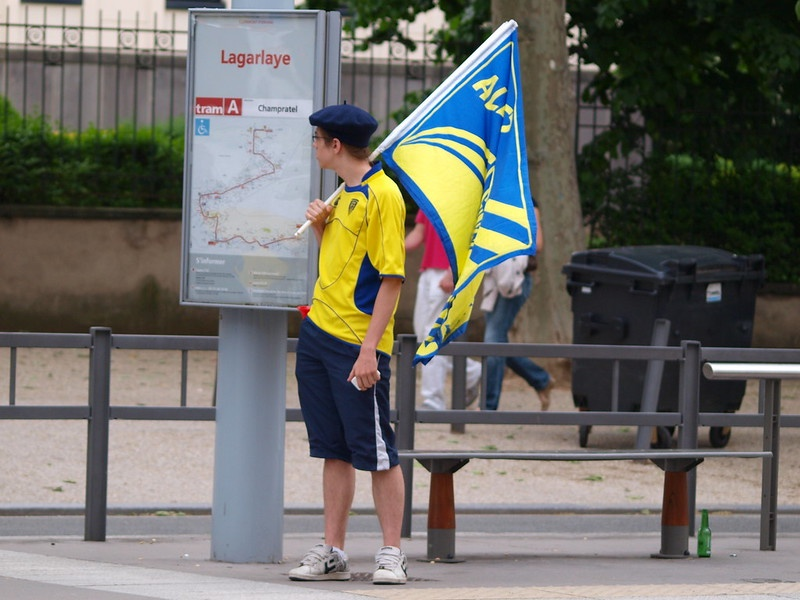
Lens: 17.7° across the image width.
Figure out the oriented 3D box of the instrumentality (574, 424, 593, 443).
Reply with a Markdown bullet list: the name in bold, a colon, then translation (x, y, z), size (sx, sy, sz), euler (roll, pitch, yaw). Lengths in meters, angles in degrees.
- **instrumentality**: translation (1.611, 1.179, 22.369), size (0.122, 0.189, 0.082), euler (1, 4, -10)

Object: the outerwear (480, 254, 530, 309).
- **outerwear**: translation (0.985, -0.201, 24.137), size (0.233, 0.454, 0.390), euler (6, 10, -26)

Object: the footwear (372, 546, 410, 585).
- **footwear**: translation (-0.073, 2.105, 20.546), size (0.280, 0.291, 0.263), euler (2, 4, 1)

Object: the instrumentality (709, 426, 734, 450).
- **instrumentality**: translation (2.930, 1.247, 23.480), size (0.223, 0.256, 0.125), euler (-15, 22, -40)

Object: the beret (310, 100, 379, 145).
- **beret**: translation (-0.466, -1.425, 20.669), size (0.607, 0.355, 0.532), euler (9, 3, 3)

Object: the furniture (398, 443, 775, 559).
- **furniture**: translation (1.639, 1.672, 21.520), size (3.229, 0.955, 0.759), euler (1, 5, -13)
